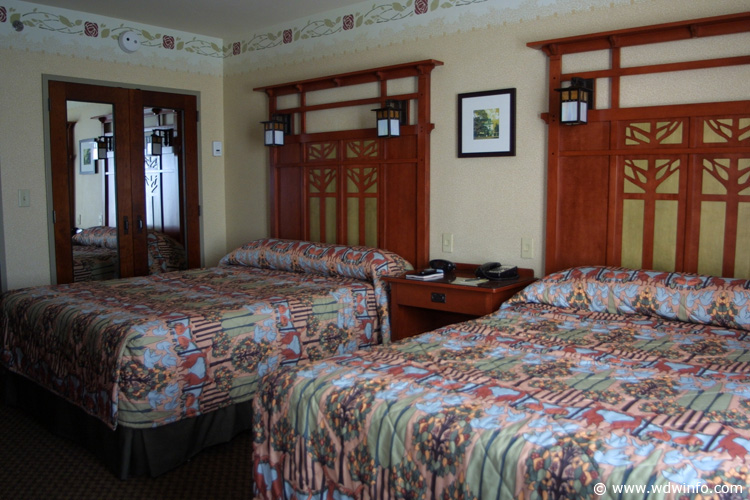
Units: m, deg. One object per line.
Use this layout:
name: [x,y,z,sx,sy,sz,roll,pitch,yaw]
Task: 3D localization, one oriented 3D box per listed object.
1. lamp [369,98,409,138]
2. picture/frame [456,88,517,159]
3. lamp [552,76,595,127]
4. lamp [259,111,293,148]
lamp: [0.139,-1.166,4.731,0.182,0.328,0.284,4,9,41]
picture/frame: [0.928,-1.048,4.391,0.647,0.650,0.050,1,4,36]
lamp: [1.454,-1.094,3.917,0.234,0.333,0.213,1,7,25]
lamp: [-1.018,-1.198,5.441,0.244,0.260,0.259,2,8,13]
